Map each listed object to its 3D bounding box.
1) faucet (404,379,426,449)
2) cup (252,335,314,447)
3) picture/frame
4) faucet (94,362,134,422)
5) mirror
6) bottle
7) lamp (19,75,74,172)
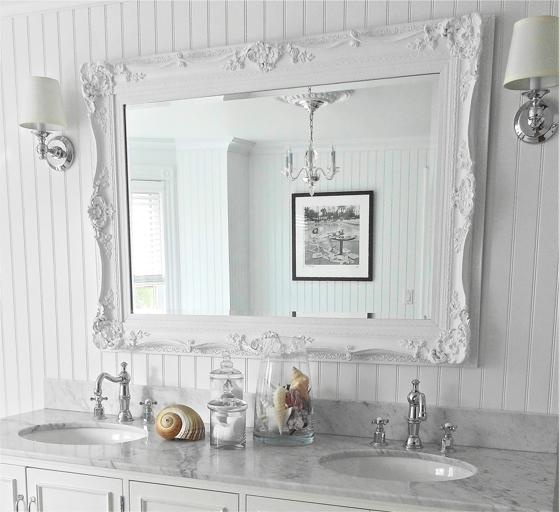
[{"bbox_3d":[0.485,0.552,2.236,0.074,0.234,0.152,0,6,13],"label":"faucet"},{"bbox_3d":[0.010,0.505,2.242,0.207,0.315,0.129,-1,6,-3],"label":"cup"},{"bbox_3d":[0.210,-0.081,2.335,0.371,0.351,0.017,0,3,19],"label":"picture/frame"},{"bbox_3d":[-0.703,0.556,2.613,0.167,0.232,0.222,-3,6,-17],"label":"faucet"},{"bbox_3d":[0.084,-0.269,2.373,1.599,1.066,0.086,1,2,21],"label":"mirror"},{"bbox_3d":[-0.191,0.523,2.272,0.132,0.273,0.226,-2,6,-7],"label":"bottle"},{"bbox_3d":[-0.987,-0.551,2.675,0.210,0.378,0.276,-3,6,-18],"label":"lamp"}]
